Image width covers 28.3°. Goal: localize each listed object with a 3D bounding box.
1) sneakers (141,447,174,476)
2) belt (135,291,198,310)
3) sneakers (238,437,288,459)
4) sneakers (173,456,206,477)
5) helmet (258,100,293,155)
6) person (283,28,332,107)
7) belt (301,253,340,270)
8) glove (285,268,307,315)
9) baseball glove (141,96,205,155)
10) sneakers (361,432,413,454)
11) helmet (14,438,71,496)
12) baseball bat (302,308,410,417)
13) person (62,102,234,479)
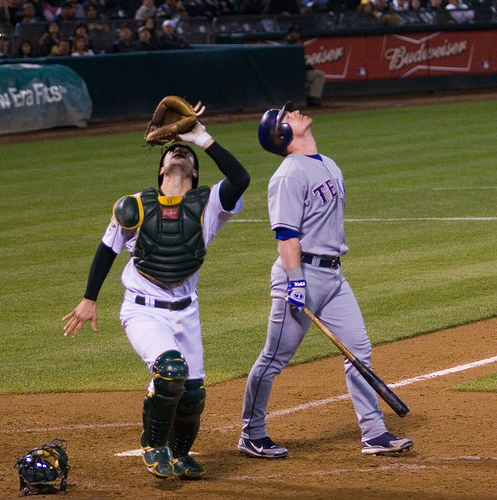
[{"bbox_3d":[-0.504,1.181,5.511,0.177,0.152,0.173,-1,9,1],"label":"sneakers"},{"bbox_3d":[-0.447,0.296,5.642,0.372,0.095,0.118,-5,10,-23],"label":"belt"},{"bbox_3d":[0.084,1.194,5.991,0.305,0.112,0.113,2,0,20],"label":"sneakers"},{"bbox_3d":[-0.339,1.226,5.581,0.098,0.064,0.155,-6,5,-30],"label":"sneakers"},{"bbox_3d":[0.108,-0.754,6.091,0.248,0.288,0.234,5,13,-17],"label":"helmet"},{"bbox_3d":[1.138,-3.633,19.575,0.936,1.578,0.643,-10,14,-42],"label":"person"},{"bbox_3d":[0.450,0.066,5.910,0.268,0.109,0.075,-5,11,-27],"label":"belt"},{"bbox_3d":[0.278,0.226,5.735,0.110,0.254,0.134,-1,10,2],"label":"glove"},{"bbox_3d":[-0.428,-0.710,5.759,0.363,0.125,0.254,-29,46,6],"label":"baseball glove"},{"bbox_3d":[0.820,1.146,5.887,0.323,0.134,0.107,-6,-2,9],"label":"sneakers"},{"bbox_3d":[-1.096,1.195,5.428,0.263,0.225,0.280,-1,2,20],"label":"helmet"},{"bbox_3d":[0.743,0.810,6.868,1.122,0.093,0.126,42,20,21],"label":"baseball bat"},{"bbox_3d":[-0.472,0.196,5.676,0.726,2.137,0.773,6,13,35],"label":"person"}]
